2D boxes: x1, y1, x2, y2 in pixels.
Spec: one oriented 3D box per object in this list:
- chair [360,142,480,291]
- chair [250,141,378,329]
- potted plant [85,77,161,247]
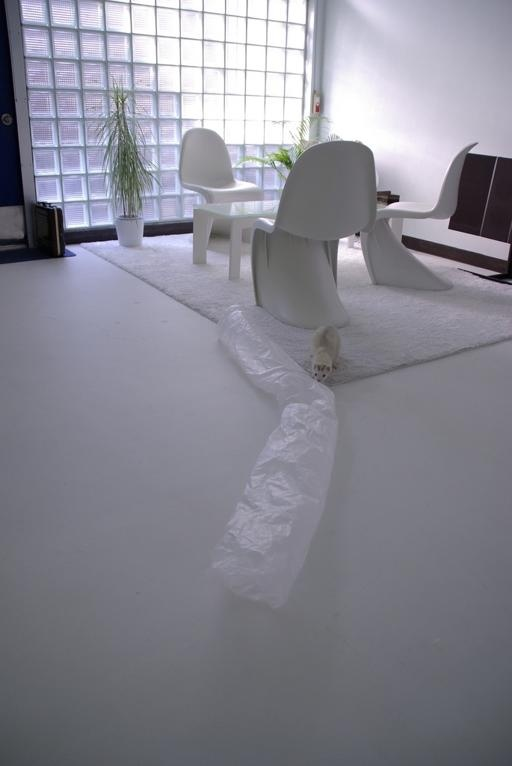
[{"bbox_3d":[1.042,-1.084,3.441,0.639,0.885,0.496,17,29,35],"label":"chair"},{"bbox_3d":[0.286,-0.747,2.636,0.507,0.903,0.618,-11,30,-19],"label":"chair"},{"bbox_3d":[-1.093,-1.794,4.399,0.417,1.215,0.654,-2,22,-16],"label":"potted plant"}]
